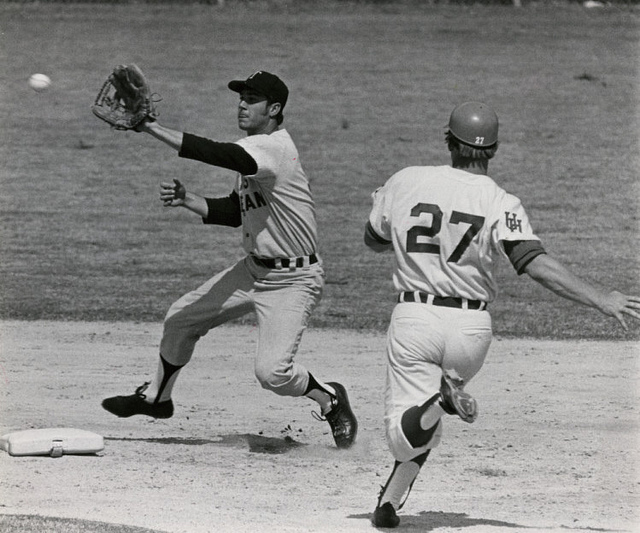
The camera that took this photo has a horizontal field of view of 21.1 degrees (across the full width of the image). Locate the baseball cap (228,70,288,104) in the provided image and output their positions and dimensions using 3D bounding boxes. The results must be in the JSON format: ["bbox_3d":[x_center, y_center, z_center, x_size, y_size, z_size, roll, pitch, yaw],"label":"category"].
[{"bbox_3d":[-0.486,-1.415,13.511,0.466,0.241,0.283,4,17,6],"label":"baseball cap"}]

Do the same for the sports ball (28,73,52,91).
[{"bbox_3d":[-2.426,-1.591,14.929,0.164,0.155,0.211,-1,17,-12],"label":"sports ball"}]

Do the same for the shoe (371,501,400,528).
[{"bbox_3d":[0.485,1.812,12.620,0.159,0.209,0.216,3,-3,-41],"label":"shoe"}]

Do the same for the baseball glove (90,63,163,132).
[{"bbox_3d":[-1.494,-1.259,13.122,0.467,0.578,0.673,-3,18,-18],"label":"baseball glove"}]

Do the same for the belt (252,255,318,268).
[{"bbox_3d":[-0.266,-0.048,13.486,0.502,0.095,0.104,2,17,-1],"label":"belt"}]
